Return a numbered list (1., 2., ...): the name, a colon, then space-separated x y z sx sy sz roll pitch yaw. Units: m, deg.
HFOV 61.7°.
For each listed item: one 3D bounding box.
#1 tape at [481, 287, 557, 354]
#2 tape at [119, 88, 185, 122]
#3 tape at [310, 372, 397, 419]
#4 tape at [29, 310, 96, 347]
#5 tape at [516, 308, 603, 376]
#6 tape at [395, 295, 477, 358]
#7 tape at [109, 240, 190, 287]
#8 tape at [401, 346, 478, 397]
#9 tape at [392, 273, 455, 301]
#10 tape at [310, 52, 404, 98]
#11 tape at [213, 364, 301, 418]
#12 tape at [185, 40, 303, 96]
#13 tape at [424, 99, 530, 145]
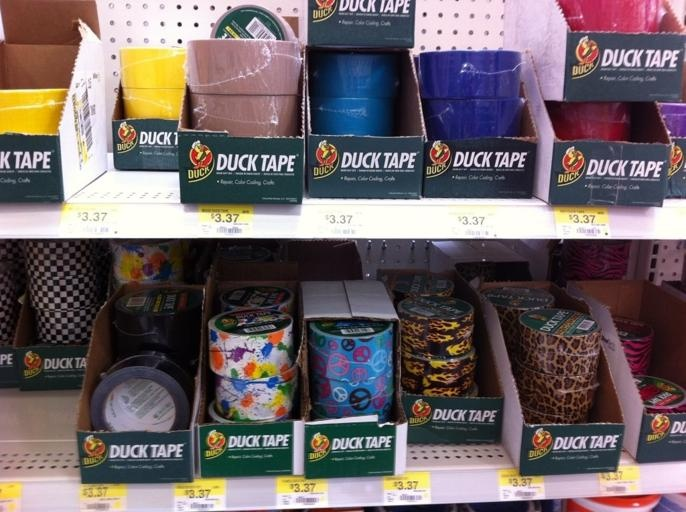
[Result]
1. tape: 0.465 0.147 1.551 0.163 0.159 0.167 0 12 4
2. tape: -0.484 -0.401 1.490 0.140 0.111 0.128 -4 22 -7
3. tape: 0.026 0.302 1.377 0.187 0.121 0.151 -1 14 -14
4. tape: -0.780 0.195 1.623 0.135 0.099 0.138 2 8 0
5. tape: 0.544 0.231 1.471 0.213 0.136 0.218 4 15 31
6. tape: 0.234 0.155 1.464 0.147 0.089 0.150 -1 13 -3
7. tape: -0.561 0.006 1.678 0.178 0.128 0.183 6 15 18
8. tape: 0.260 0.298 1.532 0.210 0.112 0.215 -1 -1 34
9. tape: 0.225 0.080 1.622 0.097 0.024 0.099 0 16 1
10. tape: 0.034 -0.407 1.330 0.192 0.106 0.148 -1 14 -11
11. tape: -0.212 0.304 1.422 0.164 0.133 0.152 -10 20 -40
12. tape: -0.219 -0.423 1.292 0.251 0.128 0.101 -7 12 -14
13. tape: 0.299 -0.324 1.328 0.224 0.095 0.074 -1 12 11
